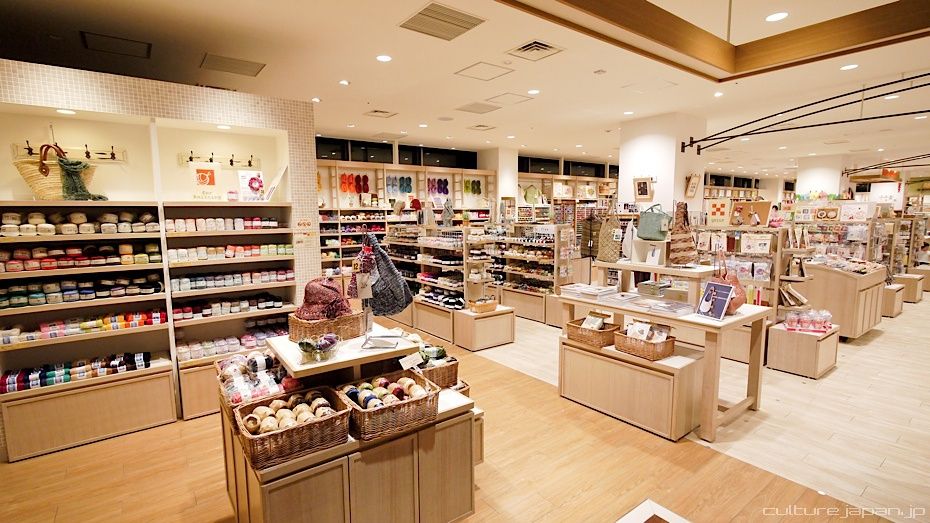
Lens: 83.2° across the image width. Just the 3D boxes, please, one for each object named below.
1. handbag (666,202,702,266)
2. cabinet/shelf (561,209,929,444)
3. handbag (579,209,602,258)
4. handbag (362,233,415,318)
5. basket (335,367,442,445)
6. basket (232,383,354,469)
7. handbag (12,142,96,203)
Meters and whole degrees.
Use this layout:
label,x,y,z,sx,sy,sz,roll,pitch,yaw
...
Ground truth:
label,x,y,z,sx,sy,sz,roll,pitch,yaw
handbag,3.306,-0.432,7.957,0.418,0.936,0.387,3,10,22
cabinet/shelf,3.164,0.490,8.023,4.500,1.789,2.879,-11,15,-38
handbag,2.642,-0.590,11.098,0.345,0.915,0.701,-1,2,-32
handbag,-1.039,0.197,6.958,0.562,1.160,0.453,-8,12,-39
basket,-0.850,1.731,6.463,1.043,0.377,0.738,-7,14,-30
basket,-2.022,1.953,6.180,1.152,0.380,0.813,-11,17,-26
handbag,-6.075,-1.299,7.687,0.617,0.849,1.033,-1,2,41
